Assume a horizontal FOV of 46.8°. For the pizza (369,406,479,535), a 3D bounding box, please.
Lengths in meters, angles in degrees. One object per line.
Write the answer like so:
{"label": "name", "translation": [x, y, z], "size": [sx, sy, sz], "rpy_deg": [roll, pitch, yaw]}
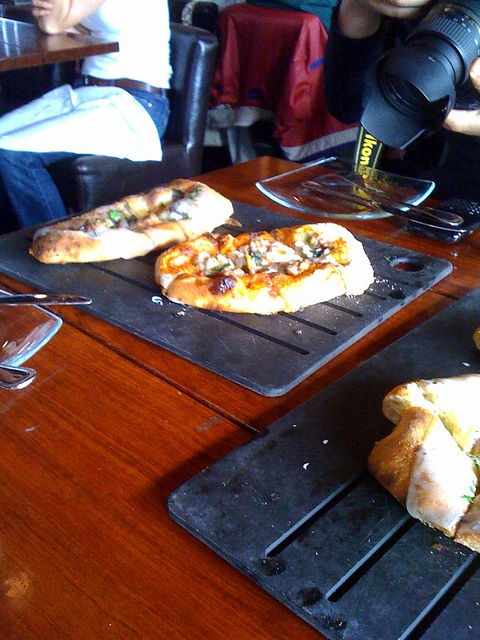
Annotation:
{"label": "pizza", "translation": [0.144, 0.107, 0.410], "size": [0.066, 0.046, 0.080], "rpy_deg": [-22, 48, -35]}

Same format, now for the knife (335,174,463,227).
{"label": "knife", "translation": [0.275, -0.225, 1.014], "size": [0.065, 0.032, 0.284], "rpy_deg": [-25, 49, -37]}

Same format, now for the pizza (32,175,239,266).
{"label": "pizza", "translation": [-0.153, -0.145, 0.836], "size": [0.277, 0.044, 0.144], "rpy_deg": [-19, 35, -37]}

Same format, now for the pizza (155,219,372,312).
{"label": "pizza", "translation": [0.038, -0.075, 0.732], "size": [0.226, 0.033, 0.140], "rpy_deg": [-7, 27, -19]}

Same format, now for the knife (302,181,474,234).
{"label": "knife", "translation": [0.250, -0.198, 0.982], "size": [0.335, 0.024, 0.044], "rpy_deg": [21, 68, 21]}
